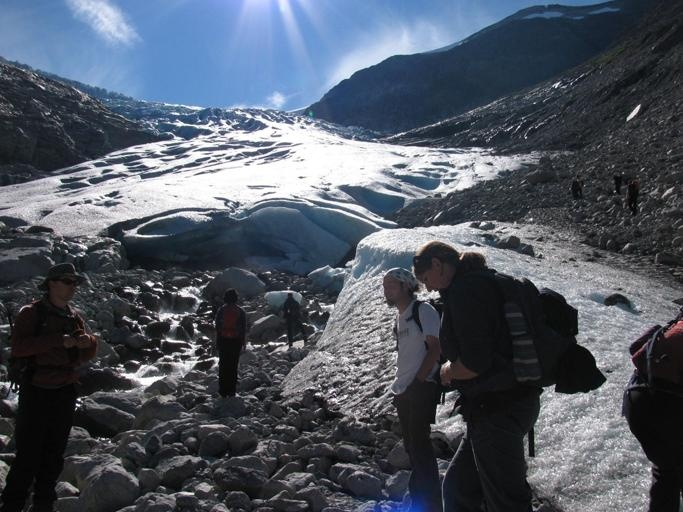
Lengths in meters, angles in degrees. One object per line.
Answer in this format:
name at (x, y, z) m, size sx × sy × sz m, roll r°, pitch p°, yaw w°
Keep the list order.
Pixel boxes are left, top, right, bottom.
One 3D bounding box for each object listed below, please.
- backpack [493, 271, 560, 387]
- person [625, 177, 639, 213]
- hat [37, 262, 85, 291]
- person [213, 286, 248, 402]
backpack at (1.640, 0.639, 4.759) m, size 0.513 × 0.930 × 0.107 m, roll -2°, pitch -8°, yaw -6°
person at (8.672, -1.695, 16.201) m, size 0.279 × 0.986 × 1.208 m, roll -6°, pitch -9°, yaw 25°
hat at (-3.046, 0.178, 5.890) m, size 0.421 × 0.184 × 0.355 m, roll -10°, pitch -5°, yaw 5°
person at (-1.816, 1.399, 8.959) m, size 0.475 × 1.742 × 0.491 m, roll -1°, pitch -8°, yaw -11°
